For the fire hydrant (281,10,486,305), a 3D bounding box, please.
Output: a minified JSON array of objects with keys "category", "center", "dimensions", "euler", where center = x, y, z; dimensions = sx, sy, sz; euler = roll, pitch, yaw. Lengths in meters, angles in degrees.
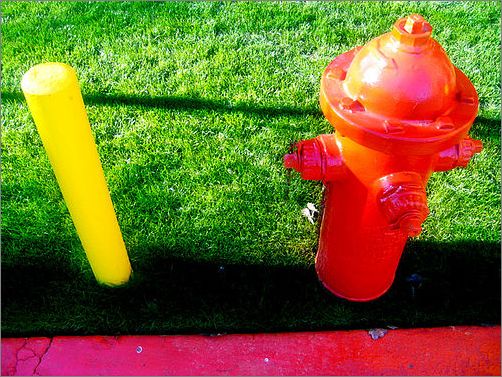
[{"category":"fire hydrant","center":[0.772,-0.111,3.625],"dimensions":[0.883,1.746,0.887],"euler":[28,55,27]}]
